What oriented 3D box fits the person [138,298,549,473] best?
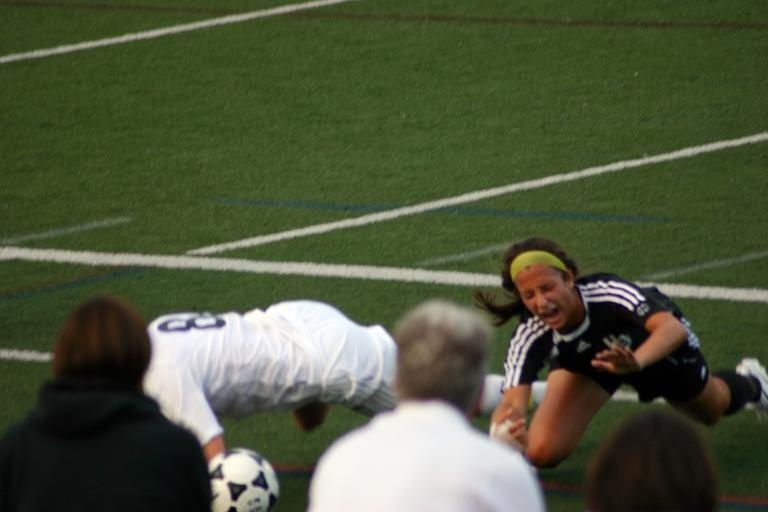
[{"bbox_3d":[-0.733,1.056,10.941,2.407,0.884,1.203,8,42,-28],"label":"person"}]
